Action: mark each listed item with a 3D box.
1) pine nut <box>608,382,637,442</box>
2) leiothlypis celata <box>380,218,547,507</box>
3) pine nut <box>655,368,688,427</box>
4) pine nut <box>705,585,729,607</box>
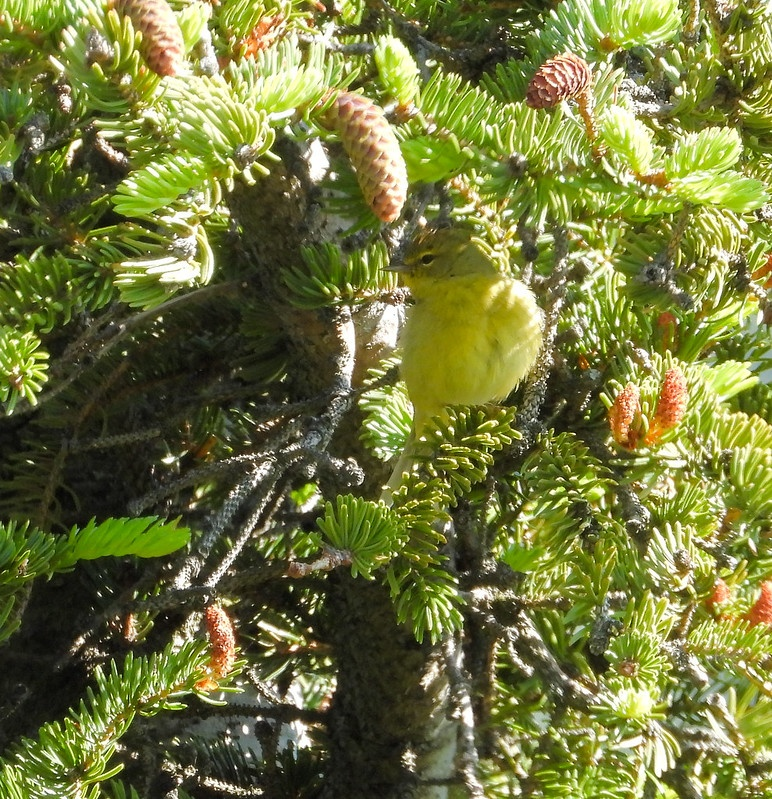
[{"bbox_3d":[0.415,0.024,2.112,0.020,0.085,0.055,23,13,35],"label":"pine nut"},{"bbox_3d":[0.145,-0.156,2.899,0.319,0.555,0.534,-17,97,-16],"label":"leiothlypis celata"},{"bbox_3d":[0.482,-0.006,2.091,0.055,0.035,0.097,4,96,-16],"label":"pine nut"},{"bbox_3d":[0.556,0.329,2.070,0.033,0.041,0.019,9,16,-32],"label":"pine nut"}]
